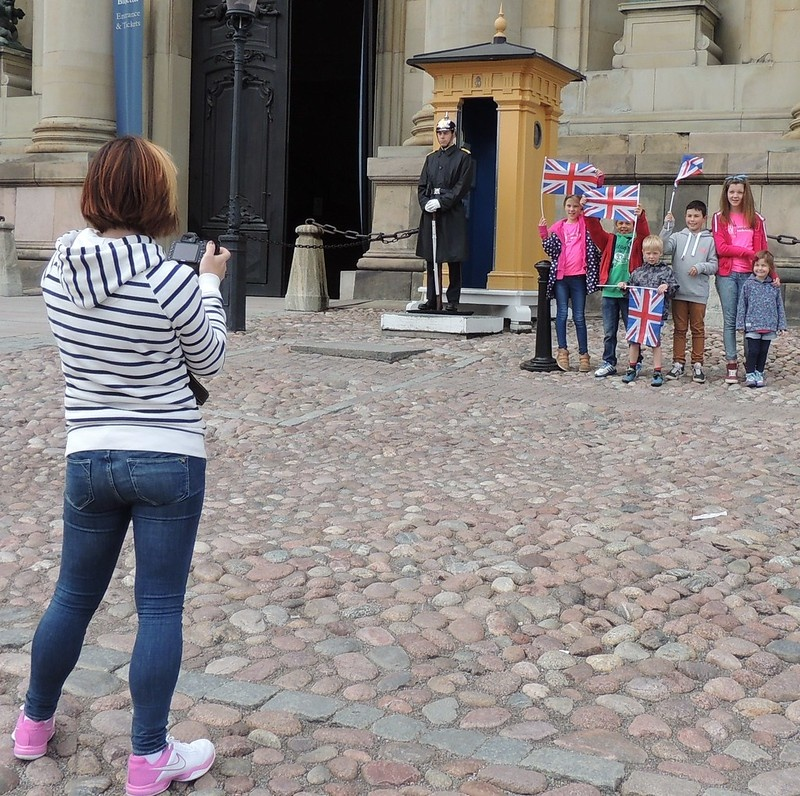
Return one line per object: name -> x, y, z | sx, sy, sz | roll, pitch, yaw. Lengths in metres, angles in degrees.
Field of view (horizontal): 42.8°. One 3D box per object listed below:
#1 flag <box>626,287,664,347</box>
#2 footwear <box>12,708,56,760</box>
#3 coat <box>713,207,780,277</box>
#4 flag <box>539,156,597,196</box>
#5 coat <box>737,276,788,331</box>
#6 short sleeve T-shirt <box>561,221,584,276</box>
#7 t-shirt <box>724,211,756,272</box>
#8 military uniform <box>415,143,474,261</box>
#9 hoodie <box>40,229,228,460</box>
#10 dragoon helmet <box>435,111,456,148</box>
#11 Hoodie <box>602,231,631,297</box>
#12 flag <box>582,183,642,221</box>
flag -> 2.023, -0.680, 8.569 | 0.305, 0.508, 0.308 | 4, 7, 22
footwear -> -0.932, 0.860, 2.617 | 0.068, 0.066, 0.169 | 2, 9, -9
coat -> 2.845, -1.337, 8.676 | 0.503, 0.525, 0.320 | -3, 13, -10
flag -> 1.587, -2.033, 9.436 | 0.497, 0.393, 0.883 | 0, 7, -9
coat -> 2.943, -0.757, 8.392 | 0.370, 0.484, 0.199 | 3, 7, 18
short sleeve T-shirt -> 1.492, -1.299, 8.923 | 0.286, 0.412, 0.119 | 0, -3, 23
t-shirt -> 2.848, -1.285, 8.560 | 0.326, 0.380, 0.138 | 2, -9, -40
military uniform -> 0.453, -2.024, 10.671 | 0.542, 1.211, 0.487 | 1, 7, 0
hoodie -> -0.607, -0.116, 2.372 | 0.399, 0.508, 0.199 | -1, 7, -17
dragoon helmet -> 0.462, -2.705, 10.439 | 0.252, 0.312, 0.315 | 1, 7, 4
Hoodie -> 1.856, -1.133, 8.803 | 0.333, 0.475, 0.157 | 5, -9, 32
flag -> 1.810, -1.692, 8.895 | 0.453, 0.305, 0.415 | 2, 5, -15
